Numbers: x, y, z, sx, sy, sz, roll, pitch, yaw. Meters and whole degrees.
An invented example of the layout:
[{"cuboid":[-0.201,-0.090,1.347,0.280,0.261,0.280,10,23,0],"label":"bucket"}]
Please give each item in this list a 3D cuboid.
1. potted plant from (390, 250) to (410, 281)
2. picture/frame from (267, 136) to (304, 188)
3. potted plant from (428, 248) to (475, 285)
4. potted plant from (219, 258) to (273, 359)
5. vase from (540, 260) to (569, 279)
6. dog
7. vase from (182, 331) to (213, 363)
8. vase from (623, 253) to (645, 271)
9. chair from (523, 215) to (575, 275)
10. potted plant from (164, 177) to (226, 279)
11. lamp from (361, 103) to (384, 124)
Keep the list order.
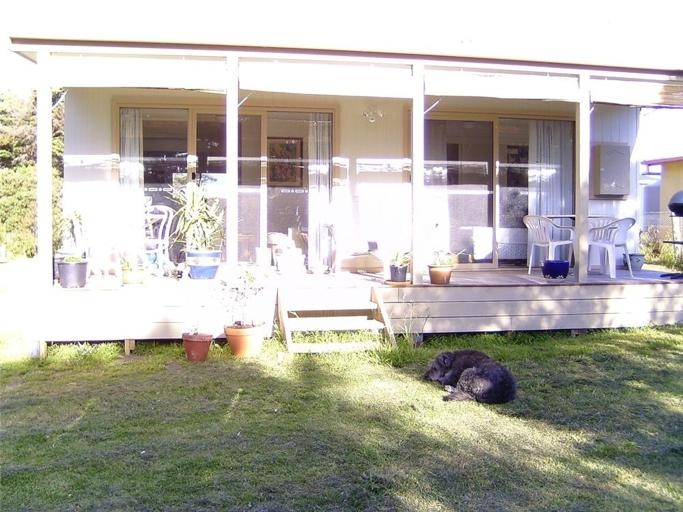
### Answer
[{"cuboid":[0.706,0.152,7.687,0.246,0.427,0.605,1,15,4],"label":"potted plant"},{"cuboid":[-0.853,-1.409,9.150,0.614,0.938,0.055,1,-1,-8],"label":"picture/frame"},{"cuboid":[1.236,0.150,7.748,0.377,0.395,0.534,1,-4,4],"label":"potted plant"},{"cuboid":[-1.076,0.579,6.955,0.567,0.852,0.767,-1,14,-5],"label":"potted plant"},{"cuboid":[2.812,0.176,8.314,0.251,0.174,0.241,0,-1,2],"label":"vase"},{"cuboid":[1.185,1.120,5.878,0.421,0.338,0.593,3,-2,-44],"label":"dog"},{"cuboid":[-1.521,0.940,6.610,0.256,0.265,0.274,3,1,28],"label":"vase"},{"cuboid":[4.581,0.076,9.916,0.264,0.256,0.279,-1,0,16],"label":"vase"},{"cuboid":[2.954,-0.150,9.081,0.670,1.034,1.617,5,16,19],"label":"chair"},{"cuboid":[-1.836,-0.355,8.195,0.810,1.334,2.297,-4,16,-16],"label":"potted plant"},{"cuboid":[0.446,-2.126,9.337,0.269,0.213,0.265,21,38,37],"label":"lamp"}]
